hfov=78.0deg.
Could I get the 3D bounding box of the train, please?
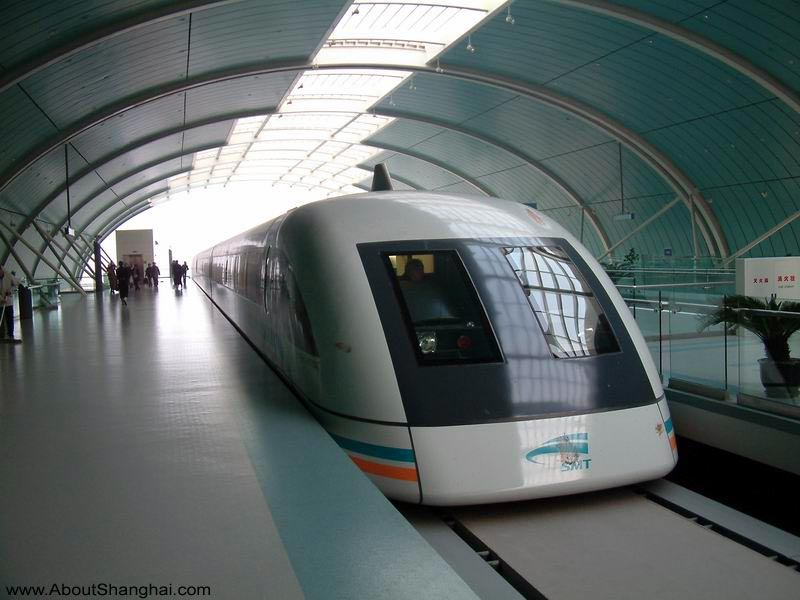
[{"bbox_3d":[0.827,0.320,5.480,3.747,3.299,1.579,-4,-2,-5],"label":"train"}]
